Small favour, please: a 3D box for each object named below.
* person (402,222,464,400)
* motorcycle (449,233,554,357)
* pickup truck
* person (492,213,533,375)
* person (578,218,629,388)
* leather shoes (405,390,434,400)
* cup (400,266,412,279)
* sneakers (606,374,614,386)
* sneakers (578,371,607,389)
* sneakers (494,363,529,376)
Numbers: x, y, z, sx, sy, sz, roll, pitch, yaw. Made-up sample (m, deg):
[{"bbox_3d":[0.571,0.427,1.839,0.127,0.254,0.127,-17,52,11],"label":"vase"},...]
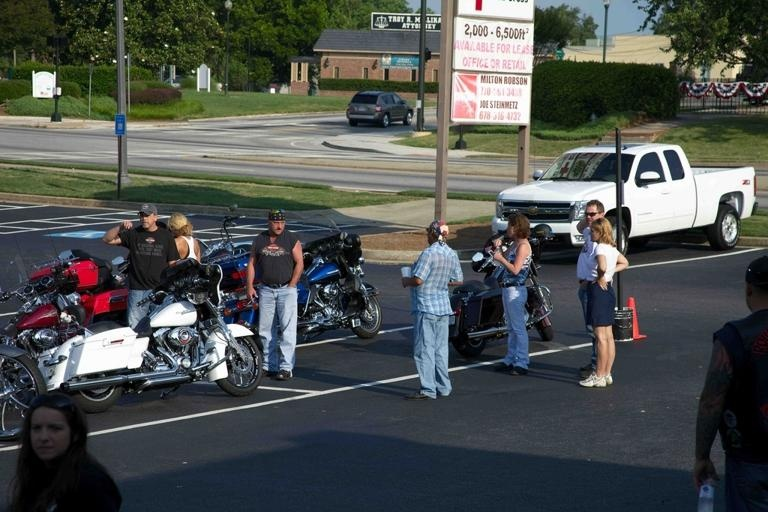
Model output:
[{"bbox_3d":[0.662,0.728,14.432,0.746,2.359,0.917,0,11,6],"label":"person"},{"bbox_3d":[1.826,0.584,16.783,1.241,1.586,2.322,3,13,39],"label":"motorcycle"},{"bbox_3d":[5.645,-1.202,23.058,6.276,2.521,2.165,-5,12,-19],"label":"pickup truck"},{"bbox_3d":[1.914,0.532,15.478,0.555,2.273,0.993,1,12,8],"label":"person"},{"bbox_3d":[3.101,0.672,14.884,0.446,2.221,0.970,2,12,13],"label":"person"},{"bbox_3d":[0.483,1.936,14.239,0.359,0.157,0.145,4,-1,-1],"label":"leather shoes"},{"bbox_3d":[0.302,0.239,14.511,0.141,0.270,0.154,1,0,0],"label":"cup"},{"bbox_3d":[3.231,1.771,14.781,0.095,0.151,0.154,-1,0,8],"label":"sneakers"},{"bbox_3d":[2.988,1.784,14.786,0.446,0.235,0.164,1,-1,1],"label":"sneakers"},{"bbox_3d":[1.878,1.690,15.329,0.175,0.231,0.569,-3,-7,-23],"label":"sneakers"}]
